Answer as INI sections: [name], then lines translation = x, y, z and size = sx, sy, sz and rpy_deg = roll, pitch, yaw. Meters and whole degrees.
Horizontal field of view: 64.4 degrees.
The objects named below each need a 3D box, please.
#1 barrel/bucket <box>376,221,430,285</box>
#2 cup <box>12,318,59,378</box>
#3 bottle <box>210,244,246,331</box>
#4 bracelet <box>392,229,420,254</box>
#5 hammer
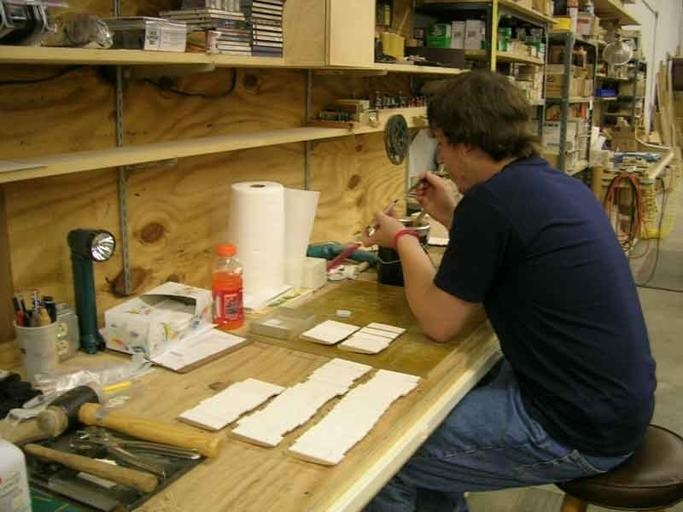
[barrel/bucket]
translation = 0.221, -0.029, 2.343
size = 0.205, 0.237, 0.249
rpy_deg = 8, 13, 17
[cup]
translation = -0.873, 0.264, 1.570
size = 0.104, 0.165, 0.125
rpy_deg = -11, 17, -31
[bottle]
translation = -0.410, 0.103, 1.945
size = 0.139, 0.281, 0.148
rpy_deg = 1, 8, 0
[bracelet]
translation = 0.229, -0.056, 1.940
size = 0.087, 0.075, 0.055
rpy_deg = 3, -3, 25
[hammer]
translation = -0.513, 0.417, 1.303
size = 0.478, 0.090, 0.167
rpy_deg = 10, 26, 24
